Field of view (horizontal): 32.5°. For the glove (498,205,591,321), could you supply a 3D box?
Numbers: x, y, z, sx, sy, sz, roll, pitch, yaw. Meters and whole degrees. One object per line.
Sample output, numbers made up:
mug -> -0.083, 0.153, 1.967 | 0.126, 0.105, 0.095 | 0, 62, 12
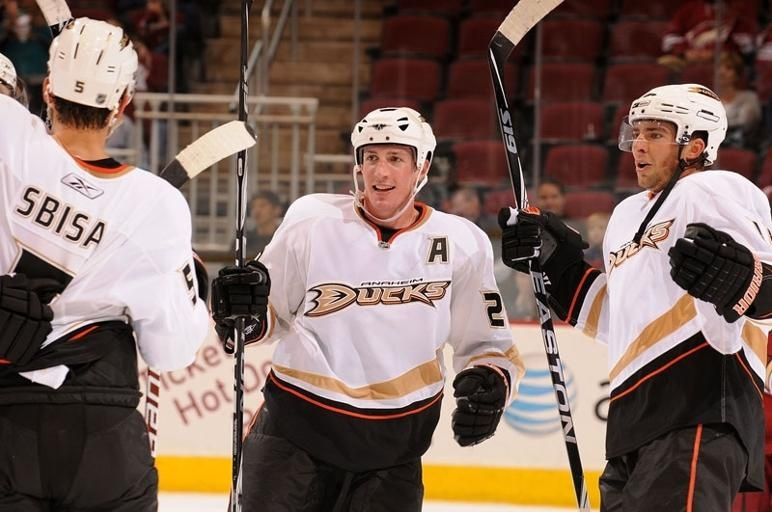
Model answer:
glove -> 0.821, 0.003, 6.794 | 0.394, 0.648, 0.212 | -42, 21, -26

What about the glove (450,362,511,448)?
glove -> 0.474, 0.727, 6.561 | 0.296, 0.370, 0.154 | 21, -2, -34

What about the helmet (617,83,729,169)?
helmet -> 1.463, -0.640, 6.774 | 0.559, 0.483, 0.412 | 1, 10, -12

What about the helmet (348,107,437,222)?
helmet -> -0.002, -0.459, 6.731 | 0.406, 0.490, 0.429 | 0, -13, -7

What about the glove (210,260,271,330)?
glove -> -0.700, 0.184, 6.436 | 0.281, 0.340, 0.254 | 5, -1, -7
